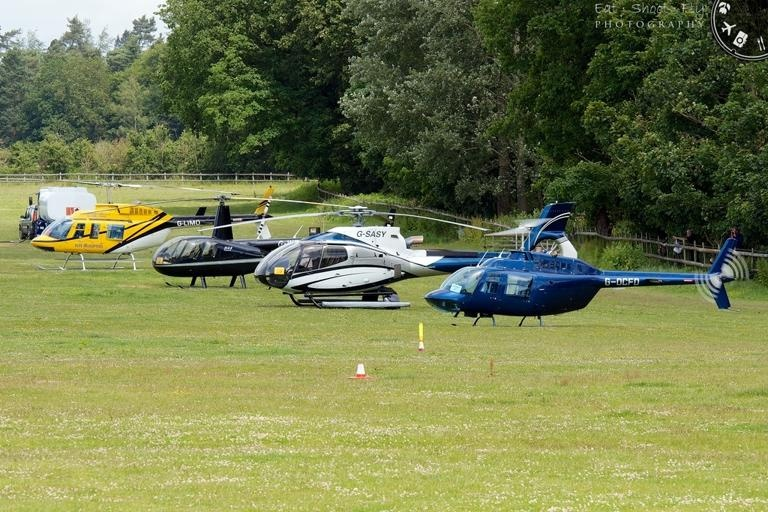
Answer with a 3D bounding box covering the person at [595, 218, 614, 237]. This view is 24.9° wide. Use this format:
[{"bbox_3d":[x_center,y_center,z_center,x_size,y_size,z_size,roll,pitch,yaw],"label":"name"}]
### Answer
[{"bbox_3d":[13.181,-1.703,104.846,0.955,1.085,0.329,-6,-12,28],"label":"person"}]
